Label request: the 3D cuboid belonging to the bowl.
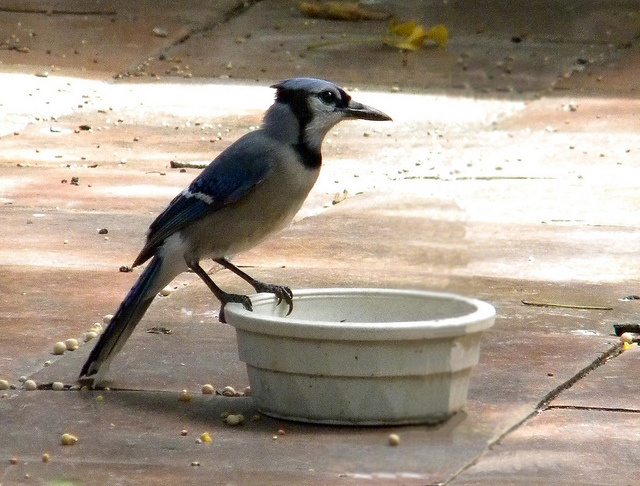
[{"bbox_3d":[0.259,0.707,7.256,1.233,0.345,1.050,0,3,11],"label":"bowl"}]
